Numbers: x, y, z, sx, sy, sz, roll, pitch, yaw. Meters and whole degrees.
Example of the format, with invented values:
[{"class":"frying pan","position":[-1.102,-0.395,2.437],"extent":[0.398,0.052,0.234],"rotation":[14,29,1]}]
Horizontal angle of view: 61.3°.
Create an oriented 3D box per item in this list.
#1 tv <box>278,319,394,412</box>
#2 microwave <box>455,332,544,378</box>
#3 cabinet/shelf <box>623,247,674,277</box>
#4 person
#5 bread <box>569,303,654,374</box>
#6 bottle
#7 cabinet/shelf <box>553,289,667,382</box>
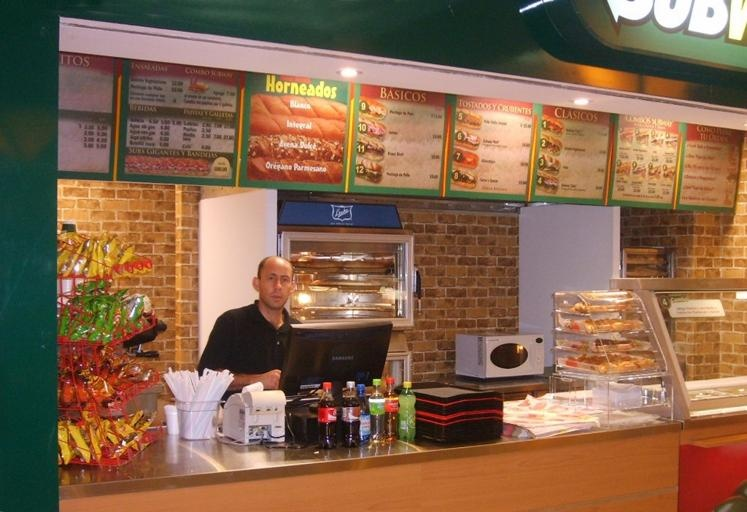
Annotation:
[{"class":"tv","position":[-0.178,0.529,3.019],"extent":[0.517,0.323,0.141],"rotation":[-2,7,-22]},{"class":"microwave","position":[1.050,0.834,5.339],"extent":[0.615,0.327,0.440],"rotation":[1,-4,-25]},{"class":"cabinet/shelf","position":[2.327,0.053,5.346],"extent":[0.286,0.233,0.086],"rotation":[1,-4,-17]},{"class":"person","position":[-0.775,0.357,3.913],"extent":[0.586,0.721,0.227],"rotation":[2,-2,-16]},{"class":"bread","position":[1.272,0.415,3.382],"extent":[0.347,0.252,0.380],"rotation":[0,0,-32]},{"class":"bottle","position":[-0.063,0.676,2.835],"extent":[0.330,0.231,0.323],"rotation":[-1,-5,0]},{"class":"cabinet/shelf","position":[1.267,0.439,3.545],"extent":[0.640,0.459,0.530],"rotation":[0,0,-11]}]
